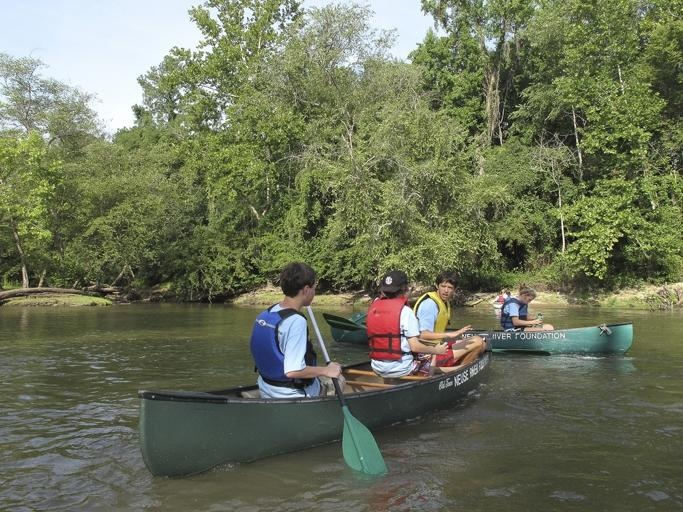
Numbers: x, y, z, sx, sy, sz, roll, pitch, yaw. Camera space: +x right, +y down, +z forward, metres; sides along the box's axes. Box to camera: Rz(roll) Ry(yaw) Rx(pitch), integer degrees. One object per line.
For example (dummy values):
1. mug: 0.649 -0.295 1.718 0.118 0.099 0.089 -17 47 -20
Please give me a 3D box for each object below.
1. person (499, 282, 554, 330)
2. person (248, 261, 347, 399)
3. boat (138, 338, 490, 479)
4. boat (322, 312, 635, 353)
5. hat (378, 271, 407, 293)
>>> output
1. person: 4.139 1.140 13.711 1.007 1.205 1.181 -3 11 -11
2. person: -0.729 1.090 8.490 0.940 1.964 0.555 -2 12 -8
3. boat: -0.232 2.299 9.665 6.584 1.159 1.503 -3 -4 -33
4. boat: 2.957 1.665 13.441 6.184 0.727 1.240 -2 -3 10
5. hat: 0.818 0.398 9.761 0.422 0.338 0.280 -1 11 1
